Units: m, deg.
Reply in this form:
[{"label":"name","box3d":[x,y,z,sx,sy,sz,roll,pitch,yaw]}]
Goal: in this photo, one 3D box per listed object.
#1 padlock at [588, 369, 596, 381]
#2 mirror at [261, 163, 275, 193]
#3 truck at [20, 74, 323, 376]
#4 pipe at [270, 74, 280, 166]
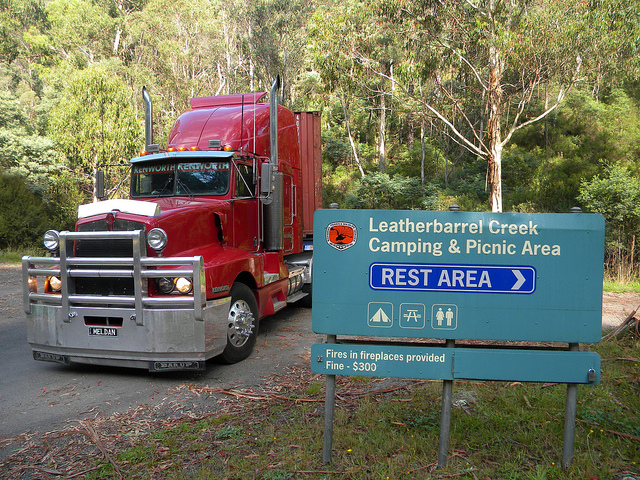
[{"label":"padlock","box3d":[2.933,1.438,6.151,0.079,0.116,0.025,-1,4,9]},{"label":"mirror","box3d":[-0.955,-1.045,9.614,0.266,0.481,0.261,7,10,39]},{"label":"truck","box3d":[-1.795,-0.594,12.114,2.832,4.650,8.960,0,3,14]},{"label":"pipe","box3d":[-0.819,-2.160,10.073,0.178,1.177,0.218,1,-3,-43]}]
